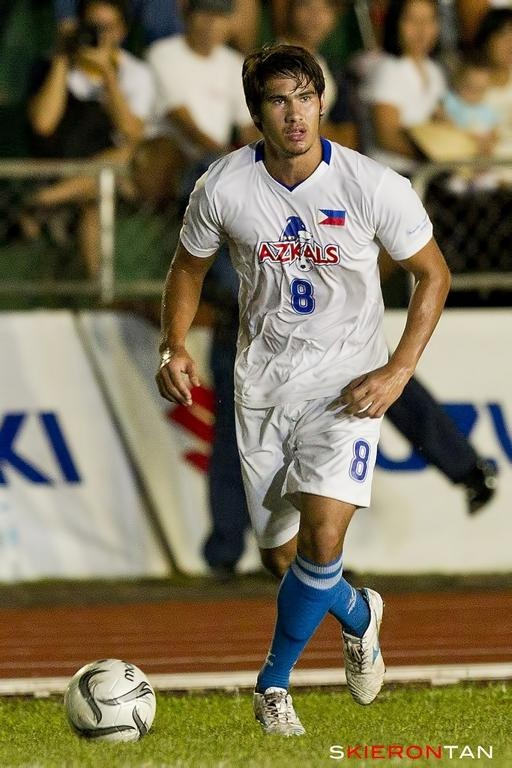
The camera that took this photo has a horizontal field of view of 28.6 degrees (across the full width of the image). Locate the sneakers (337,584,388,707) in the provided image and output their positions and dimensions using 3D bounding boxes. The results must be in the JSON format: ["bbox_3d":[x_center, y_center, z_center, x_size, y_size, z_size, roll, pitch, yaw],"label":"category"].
[{"bbox_3d":[0.337,0.732,2.834,0.123,0.316,0.176,-4,-2,24],"label":"sneakers"}]

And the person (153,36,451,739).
[{"bbox_3d":[0.055,0.028,2.677,0.689,1.802,0.603,8,19,38],"label":"person"}]

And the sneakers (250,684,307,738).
[{"bbox_3d":[0.059,0.834,2.577,0.066,0.071,0.168,-10,5,-13],"label":"sneakers"}]
